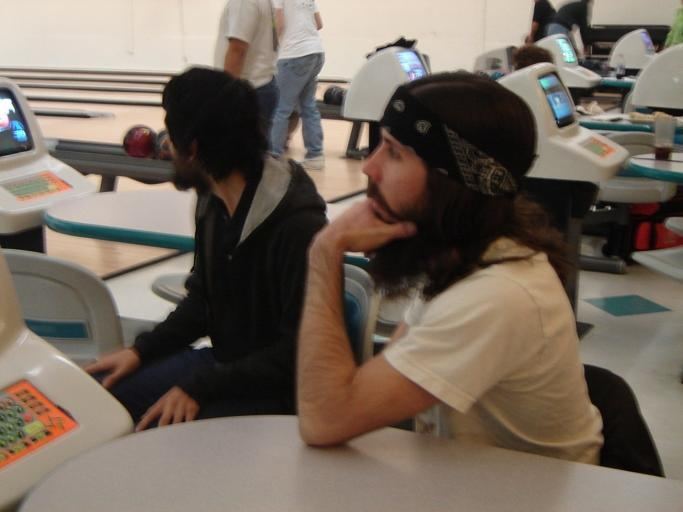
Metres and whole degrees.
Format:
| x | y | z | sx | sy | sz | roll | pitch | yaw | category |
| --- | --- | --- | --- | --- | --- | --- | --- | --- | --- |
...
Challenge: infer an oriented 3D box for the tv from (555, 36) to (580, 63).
| x | y | z | sx | sy | sz | roll | pitch | yaw | category |
| --- | --- | --- | --- | --- | --- | --- | --- | --- | --- |
| 2.179 | -2.010 | 4.852 | 0.227 | 0.336 | 0.075 | -18 | -2 | -40 | tv |

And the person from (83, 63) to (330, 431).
| x | y | z | sx | sy | sz | roll | pitch | yaw | category |
| --- | --- | --- | --- | --- | --- | --- | --- | --- | --- |
| -0.257 | -0.152 | 1.630 | 0.709 | 1.285 | 0.597 | 0 | 15 | -10 | person |
